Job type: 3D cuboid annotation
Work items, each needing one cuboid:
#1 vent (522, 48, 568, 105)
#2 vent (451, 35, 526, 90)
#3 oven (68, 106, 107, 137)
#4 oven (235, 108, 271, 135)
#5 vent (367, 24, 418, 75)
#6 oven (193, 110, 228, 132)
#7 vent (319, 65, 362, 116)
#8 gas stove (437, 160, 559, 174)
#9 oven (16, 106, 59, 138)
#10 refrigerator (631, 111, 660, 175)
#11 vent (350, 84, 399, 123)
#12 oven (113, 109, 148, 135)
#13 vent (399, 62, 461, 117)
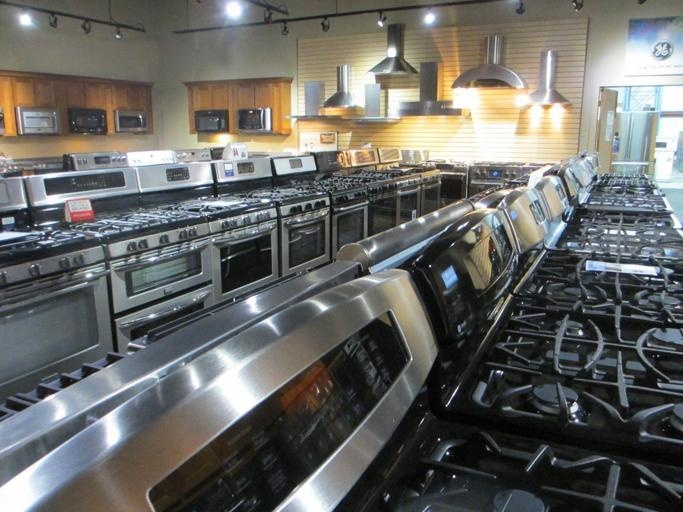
[{"bbox_3d":[3.727,-3.099,7.397,0.755,0.816,0.719,0,18,-7],"label":"vent"},{"bbox_3d":[2.724,-3.459,7.554,1.211,0.890,0.660,8,24,25],"label":"vent"},{"bbox_3d":[-5.206,-2.770,8.611,0.216,0.511,0.787,8,20,29],"label":"oven"},{"bbox_3d":[-1.865,-2.941,9.206,1.011,0.639,0.548,8,15,26],"label":"oven"},{"bbox_3d":[1.021,-3.980,8.102,1.008,0.880,0.940,-2,26,3],"label":"vent"},{"bbox_3d":[-2.987,-3.098,9.615,0.944,0.493,0.271,7,21,28],"label":"oven"},{"bbox_3d":[0.052,-3.452,8.840,0.973,1.045,0.957,2,6,14],"label":"vent"},{"bbox_3d":[2.618,-1.627,7.647,1.936,0.188,0.671,7,20,26],"label":"gas stove"},{"bbox_3d":[-5.698,-2.532,7.881,0.519,0.543,0.814,8,14,19],"label":"oven"},{"bbox_3d":[5.640,-2.103,7.813,0.498,1.119,0.304,11,23,36],"label":"refrigerator"},{"bbox_3d":[0.705,-2.930,8.444,0.990,0.676,0.887,2,24,6],"label":"vent"},{"bbox_3d":[-4.720,-3.004,9.389,0.517,0.514,0.812,5,15,18],"label":"oven"},{"bbox_3d":[1.734,-3.225,8.175,1.243,1.040,0.432,4,8,18],"label":"vent"}]
